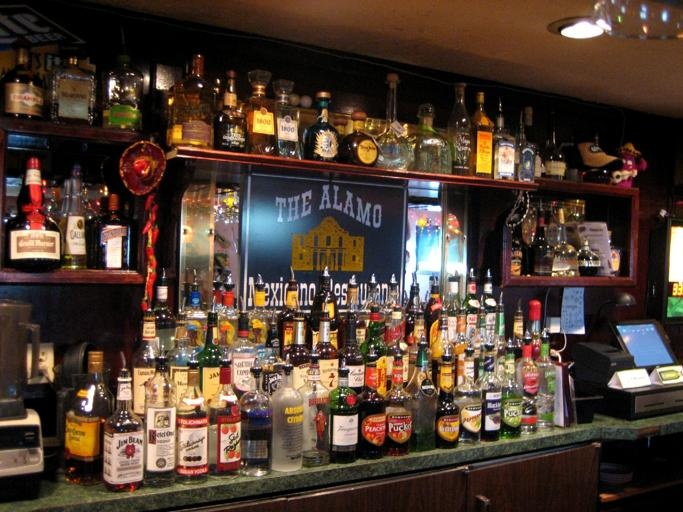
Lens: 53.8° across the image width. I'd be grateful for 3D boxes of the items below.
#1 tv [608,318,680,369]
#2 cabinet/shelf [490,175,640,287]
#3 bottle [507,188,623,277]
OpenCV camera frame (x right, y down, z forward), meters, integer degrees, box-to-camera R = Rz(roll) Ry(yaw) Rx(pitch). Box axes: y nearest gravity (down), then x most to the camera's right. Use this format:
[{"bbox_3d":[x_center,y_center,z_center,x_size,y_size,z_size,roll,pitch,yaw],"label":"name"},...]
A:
[{"bbox_3d":[1.704,0.493,3.764,0.297,0.287,0.077,6,-32,-21],"label":"tv"},{"bbox_3d":[1.259,-0.137,3.864,0.700,0.471,0.225,1,3,-8],"label":"cabinet/shelf"},{"bbox_3d":[1.274,-0.125,3.899,0.527,0.355,0.157,1,-4,-22],"label":"bottle"}]
